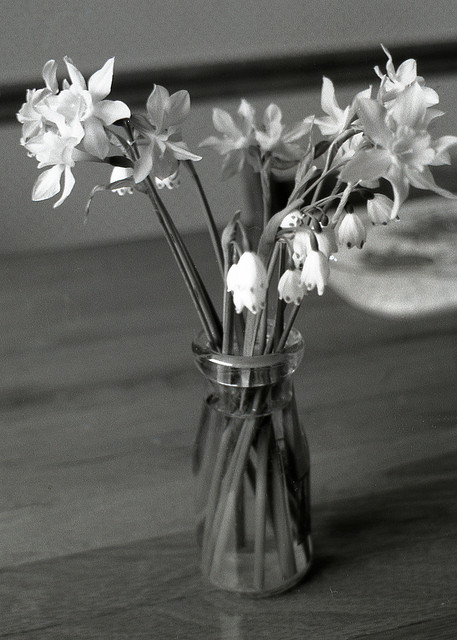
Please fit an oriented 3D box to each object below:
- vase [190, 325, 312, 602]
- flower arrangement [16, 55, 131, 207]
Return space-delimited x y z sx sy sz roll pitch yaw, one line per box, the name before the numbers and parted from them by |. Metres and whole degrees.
vase | 0.026 0.103 0.569 0.070 0.185 0.080 2 13 26
flower arrangement | -0.092 -0.109 0.458 0.050 0.085 0.097 -7 17 -29
